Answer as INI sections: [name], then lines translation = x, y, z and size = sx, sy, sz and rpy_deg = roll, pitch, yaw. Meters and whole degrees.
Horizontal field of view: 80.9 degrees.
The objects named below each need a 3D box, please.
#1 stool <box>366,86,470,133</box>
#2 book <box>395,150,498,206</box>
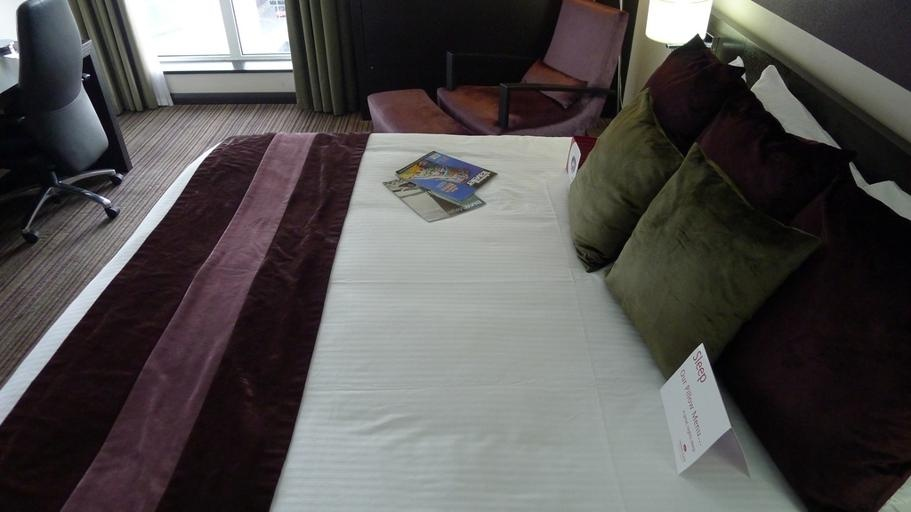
[stool]
translation = -0.293, -0.964, 3.840
size = 0.427, 0.206, 0.854
rpy_deg = -16, 39, -22
[book]
translation = -0.073, -0.422, 2.849
size = 0.356, 0.083, 0.367
rpy_deg = 26, 45, 21
